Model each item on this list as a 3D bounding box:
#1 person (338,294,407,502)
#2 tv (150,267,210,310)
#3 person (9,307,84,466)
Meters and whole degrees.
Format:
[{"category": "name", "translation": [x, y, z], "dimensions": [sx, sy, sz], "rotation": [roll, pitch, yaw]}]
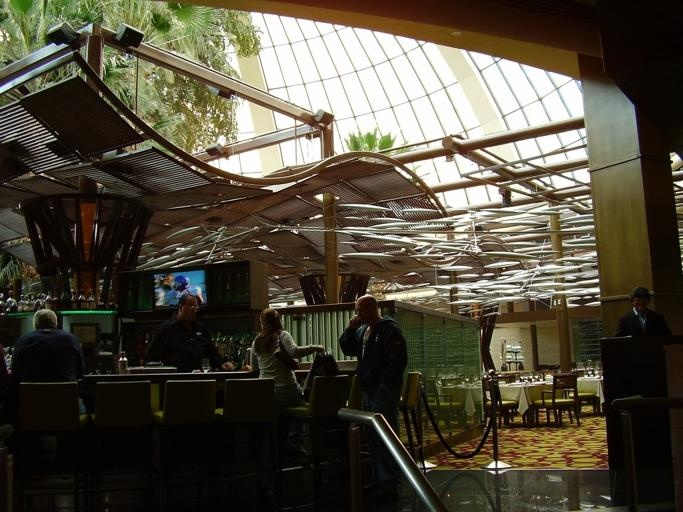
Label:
[{"category": "person", "translation": [0.365, 1.392, 5.633], "dimensions": [0.608, 2.063, 1.048], "rotation": [0, -15, -1]}, {"category": "tv", "translation": [-2.399, 0.489, 8.198], "dimensions": [0.867, 0.408, 0.035], "rotation": [-2, -16, 10]}, {"category": "person", "translation": [-3.219, 1.326, 5.996], "dimensions": [0.777, 1.527, 0.570], "rotation": [6, -16, -22]}]
